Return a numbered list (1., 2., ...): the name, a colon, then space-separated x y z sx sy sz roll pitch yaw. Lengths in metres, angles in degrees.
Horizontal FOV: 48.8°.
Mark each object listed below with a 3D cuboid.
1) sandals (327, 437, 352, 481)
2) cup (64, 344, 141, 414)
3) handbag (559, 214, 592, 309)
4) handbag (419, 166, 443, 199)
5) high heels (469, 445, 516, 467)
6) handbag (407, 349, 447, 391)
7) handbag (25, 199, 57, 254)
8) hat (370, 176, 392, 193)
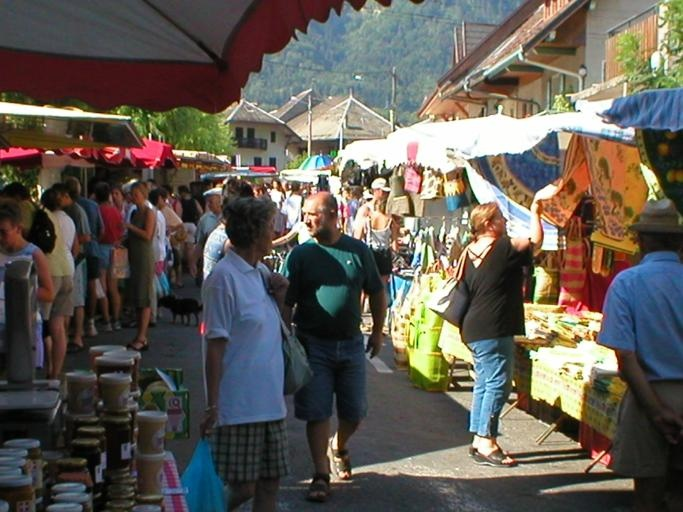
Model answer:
1. sandals: -0.026 1.721 6.610 0.137 0.129 0.429 2 46 -19
2. cup: -1.376 0.682 4.355 0.340 0.382 0.367 1 2 0
3. handbag: 2.800 0.079 9.007 0.347 1.130 0.339 3 6 19
4. handbag: 1.519 -1.263 12.724 0.146 0.482 0.461 8 -10 -24
5. high heels: 1.383 1.824 6.907 0.358 0.149 0.163 1 1 10
6. handbag: 1.060 1.344 9.242 0.377 0.587 0.727 0 -2 -14
7. handbag: -3.375 -0.334 8.490 0.161 0.528 0.369 -11 -11 20
8. hat: 0.701 -1.301 13.734 0.498 0.292 0.332 -11 8 -37
